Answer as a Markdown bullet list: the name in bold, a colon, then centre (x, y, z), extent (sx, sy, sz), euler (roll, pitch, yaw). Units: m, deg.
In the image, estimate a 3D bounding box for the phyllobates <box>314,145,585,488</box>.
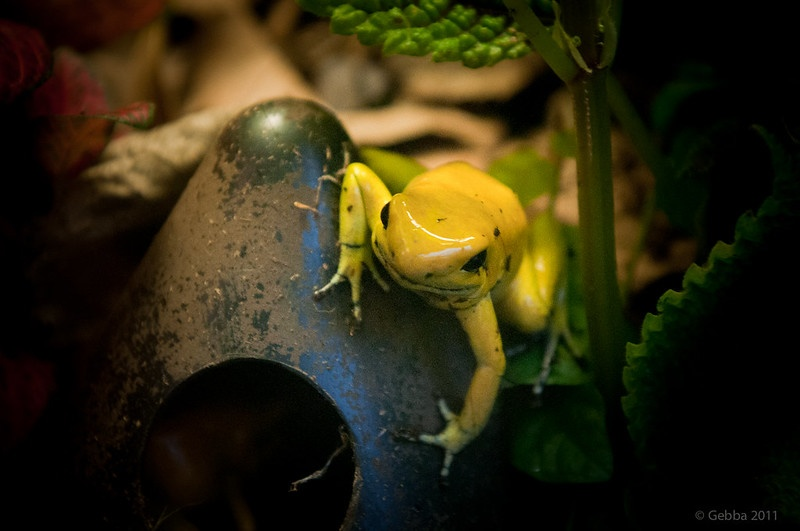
- **phyllobates**: centre (0.064, 0.043, 0.976), extent (0.326, 0.292, 0.246), euler (-5, 25, -8)
